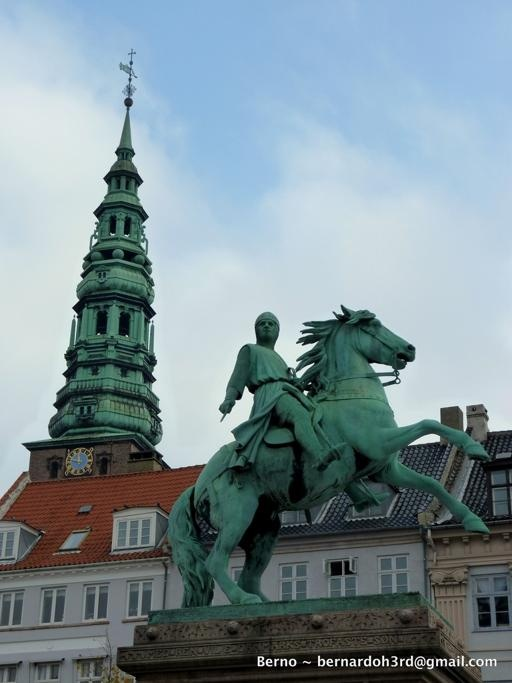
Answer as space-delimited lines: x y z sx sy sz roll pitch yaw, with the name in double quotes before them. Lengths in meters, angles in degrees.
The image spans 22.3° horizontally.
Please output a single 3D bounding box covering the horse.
"horse" 0.663 1.013 13.066 3.600 3.005 1.395 -17 -29 28
